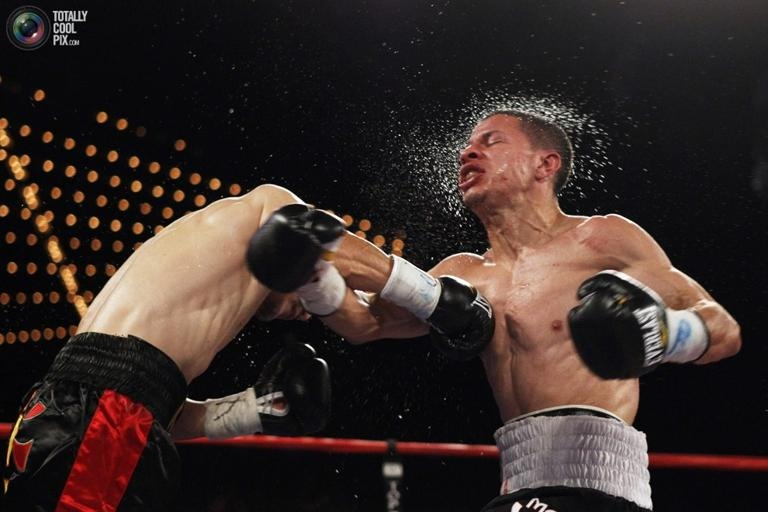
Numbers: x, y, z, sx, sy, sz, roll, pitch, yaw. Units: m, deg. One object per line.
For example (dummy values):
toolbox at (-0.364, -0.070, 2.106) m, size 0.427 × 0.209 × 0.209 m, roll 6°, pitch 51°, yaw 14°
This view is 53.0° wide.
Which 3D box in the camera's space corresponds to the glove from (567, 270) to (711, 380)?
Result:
glove at (1.081, 0.307, 3.240) m, size 0.628 × 0.381 × 0.207 m, roll 10°, pitch -2°, yaw -18°

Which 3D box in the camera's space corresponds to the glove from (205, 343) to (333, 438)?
glove at (-0.522, 0.631, 3.565) m, size 0.493 × 0.258 × 0.377 m, roll -3°, pitch 36°, yaw 16°

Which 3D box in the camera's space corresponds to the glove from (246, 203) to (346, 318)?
glove at (-0.363, -0.011, 3.209) m, size 0.409 × 0.306 × 0.193 m, roll 47°, pitch -14°, yaw 48°
